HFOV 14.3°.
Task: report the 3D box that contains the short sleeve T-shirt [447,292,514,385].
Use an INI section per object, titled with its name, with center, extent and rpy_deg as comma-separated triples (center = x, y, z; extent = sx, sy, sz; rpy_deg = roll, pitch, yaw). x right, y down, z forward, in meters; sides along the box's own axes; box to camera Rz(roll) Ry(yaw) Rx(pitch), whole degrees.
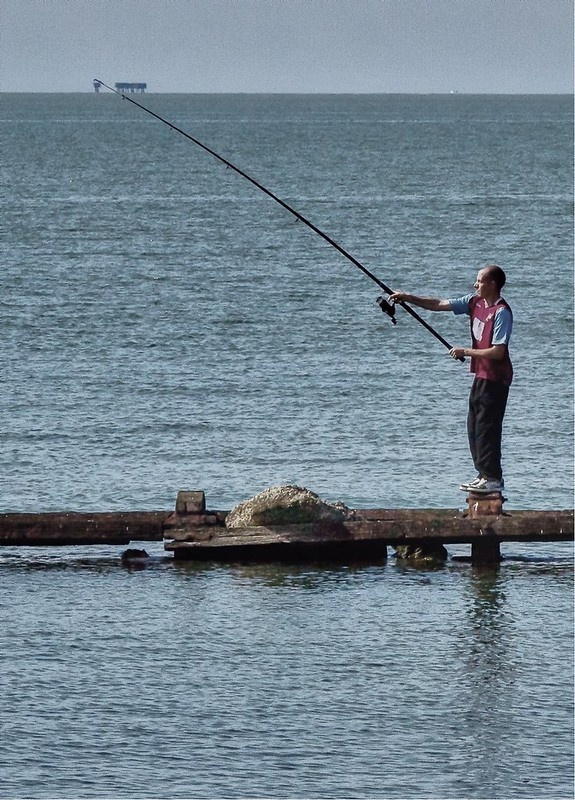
[short sleeve T-shirt]
center = 1.146, -0.383, 13.751
extent = 0.432, 0.528, 0.285
rpy_deg = 21, 24, 38

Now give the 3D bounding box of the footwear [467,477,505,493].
[footwear]
center = 1.199, 0.483, 13.927
extent = 0.223, 0.114, 0.092
rpy_deg = 2, 6, 4
